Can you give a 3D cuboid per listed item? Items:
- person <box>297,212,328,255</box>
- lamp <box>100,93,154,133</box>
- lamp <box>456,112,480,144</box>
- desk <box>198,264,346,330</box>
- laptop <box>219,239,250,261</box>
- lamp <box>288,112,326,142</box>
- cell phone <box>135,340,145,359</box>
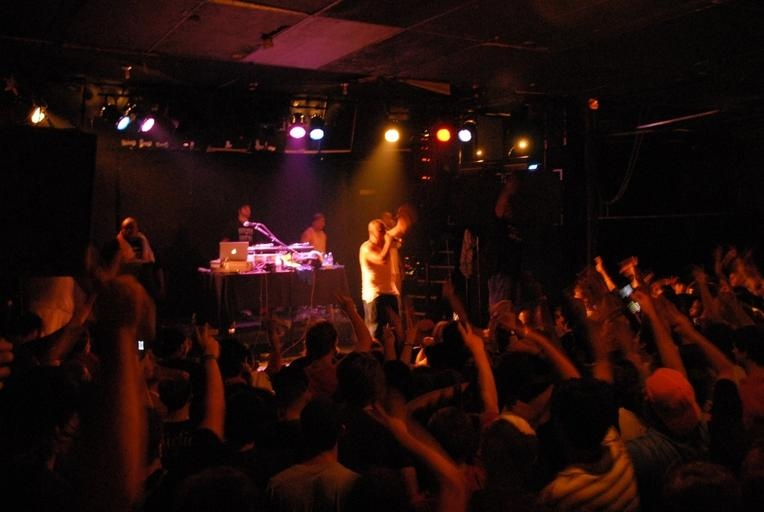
[{"bbox_3d":[-1.136,-0.402,9.956,0.366,0.610,0.741,4,5,-12],"label":"person"},{"bbox_3d":[-3.249,-1.816,7.442,0.615,0.214,0.466,11,36,-6],"label":"lamp"},{"bbox_3d":[1.130,-1.645,7.625,0.192,0.388,0.416,6,5,19],"label":"lamp"},{"bbox_3d":[-1.498,0.512,8.233,1.347,0.483,1.368,-7,-8,40],"label":"desk"},{"bbox_3d":[-2.065,-0.078,8.161,0.363,0.237,0.257,1,7,-20],"label":"laptop"},{"bbox_3d":[-1.015,-1.775,8.023,0.405,0.368,0.175,-2,29,-21],"label":"lamp"},{"bbox_3d":[-2.216,0.855,5.425,0.035,0.131,0.137,3,-4,-12],"label":"cell phone"}]
